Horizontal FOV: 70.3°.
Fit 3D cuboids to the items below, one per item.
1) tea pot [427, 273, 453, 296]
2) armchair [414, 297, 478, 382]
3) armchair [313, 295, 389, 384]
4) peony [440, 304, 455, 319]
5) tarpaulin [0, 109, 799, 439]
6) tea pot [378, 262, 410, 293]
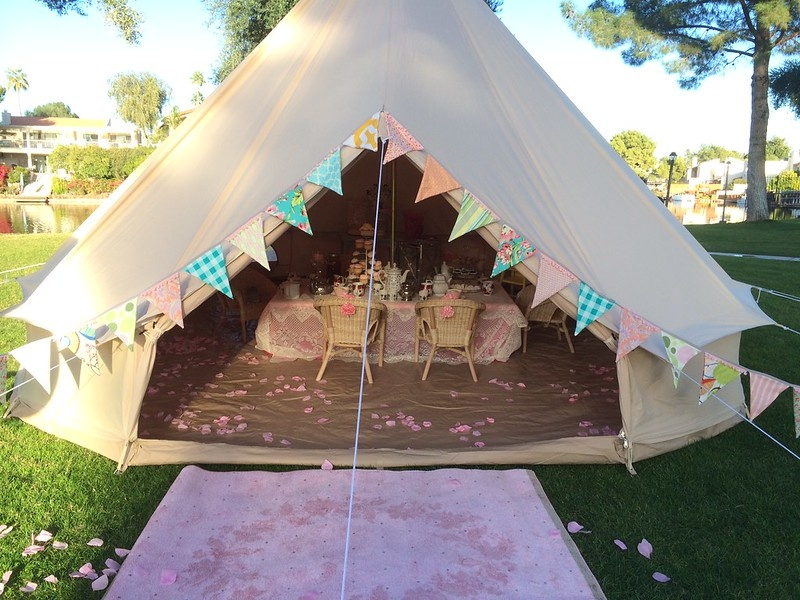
[{"bbox_3d":[0.447,-0.191,6.156,0.204,0.208,0.211,0,18,0],"label":"tea pot"},{"bbox_3d":[0.500,0.318,5.783,0.692,0.889,0.659,1,16,-4],"label":"armchair"},{"bbox_3d":[-0.488,0.311,5.698,0.709,0.881,0.697,2,15,-8],"label":"armchair"},{"bbox_3d":[0.459,0.099,5.432,0.116,0.121,0.038,-8,7,-2],"label":"peony"},{"bbox_3d":[-0.107,-0.576,5.623,4.055,2.684,4.192,2,27,1],"label":"tarpaulin"},{"bbox_3d":[-0.016,-0.222,6.155,0.394,0.410,0.266,4,23,6],"label":"tea pot"}]
